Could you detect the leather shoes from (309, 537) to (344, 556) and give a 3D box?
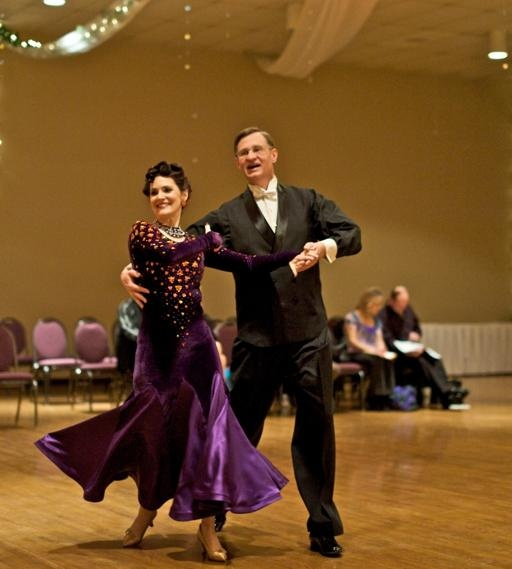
[{"bbox_3d":[0.218,0.805,1.916,0.041,0.046,0.114,11,-16,-26],"label":"leather shoes"}]

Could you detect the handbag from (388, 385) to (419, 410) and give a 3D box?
[{"bbox_3d":[1.328,1.026,5.567,0.189,0.133,0.232,-1,38,-2],"label":"handbag"}]

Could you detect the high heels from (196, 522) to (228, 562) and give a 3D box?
[{"bbox_3d":[-0.136,0.782,1.900,0.050,0.078,0.158,13,3,-31],"label":"high heels"}]

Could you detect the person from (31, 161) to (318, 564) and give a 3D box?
[{"bbox_3d":[-0.287,0.147,1.992,0.759,1.135,0.387,-3,-3,32],"label":"person"}]

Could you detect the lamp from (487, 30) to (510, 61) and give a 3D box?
[{"bbox_3d":[1.040,-1.043,2.672,0.079,0.159,0.104,-2,-3,16],"label":"lamp"}]
